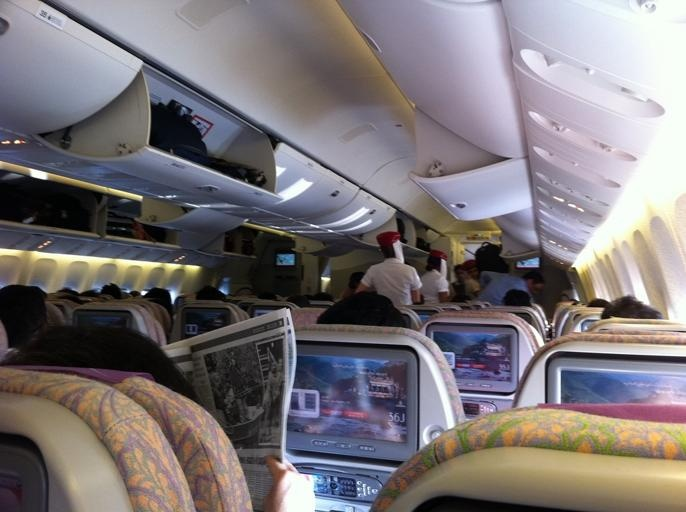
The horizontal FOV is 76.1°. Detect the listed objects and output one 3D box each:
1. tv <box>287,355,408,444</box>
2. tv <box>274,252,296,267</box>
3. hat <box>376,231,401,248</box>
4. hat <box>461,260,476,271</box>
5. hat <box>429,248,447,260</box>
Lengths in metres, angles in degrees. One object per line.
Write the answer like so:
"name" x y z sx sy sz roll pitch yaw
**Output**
"tv" 0.026 0.640 1.936 0.769 0.396 0.040 -18 -34 42
"tv" -2.227 0.125 17.163 1.187 0.576 0.549 0 -6 7
"hat" 0.538 -0.210 5.509 0.282 0.082 0.201 -9 10 38
"hat" 2.500 0.163 8.779 0.251 0.227 0.250 31 3 11
"hat" 1.696 -0.042 7.699 0.356 0.104 0.263 15 -3 -44
